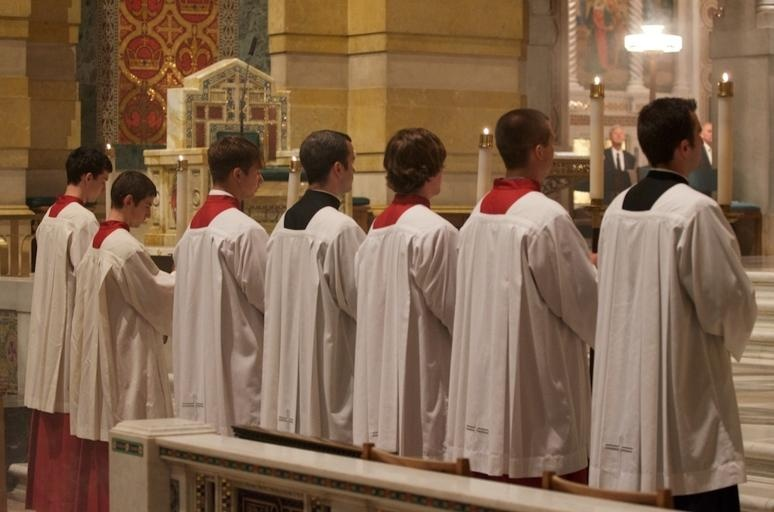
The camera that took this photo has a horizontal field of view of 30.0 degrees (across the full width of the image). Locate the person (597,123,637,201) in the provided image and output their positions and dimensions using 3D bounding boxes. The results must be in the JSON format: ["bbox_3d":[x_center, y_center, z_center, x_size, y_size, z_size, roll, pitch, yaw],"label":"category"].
[{"bbox_3d":[2.776,-0.927,17.197,0.440,1.200,0.344,4,-17,-5],"label":"person"}]

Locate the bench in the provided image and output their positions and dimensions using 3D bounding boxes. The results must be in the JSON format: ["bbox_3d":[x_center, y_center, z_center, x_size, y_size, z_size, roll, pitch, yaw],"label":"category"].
[{"bbox_3d":[-0.510,1.039,7.966,0.846,0.140,0.194,0,4,26],"label":"bench"}]

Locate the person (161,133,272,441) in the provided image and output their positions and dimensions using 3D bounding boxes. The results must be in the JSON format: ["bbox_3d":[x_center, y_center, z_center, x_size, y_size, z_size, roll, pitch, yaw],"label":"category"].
[{"bbox_3d":[-1.061,0.191,9.142,0.608,1.846,0.316,-2,4,-9],"label":"person"}]

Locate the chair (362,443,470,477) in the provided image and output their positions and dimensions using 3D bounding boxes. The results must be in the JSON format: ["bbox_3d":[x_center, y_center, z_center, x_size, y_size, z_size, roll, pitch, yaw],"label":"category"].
[{"bbox_3d":[0.133,1.107,7.709,0.552,0.132,0.106,9,-42,11],"label":"chair"}]
